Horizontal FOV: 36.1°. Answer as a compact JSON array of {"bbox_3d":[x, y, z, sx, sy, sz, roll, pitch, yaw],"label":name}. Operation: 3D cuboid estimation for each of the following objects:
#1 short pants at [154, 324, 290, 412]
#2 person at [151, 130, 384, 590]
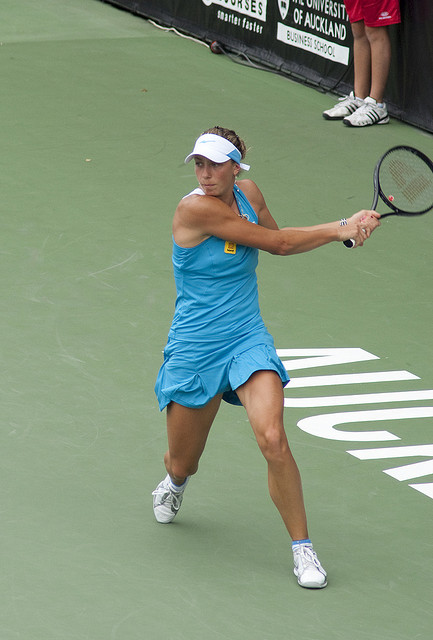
[{"bbox_3d":[0.042,0.166,2.895,0.596,0.323,0.380,-15,0,20],"label":"short pants"},{"bbox_3d":[0.226,0.120,2.880,0.827,1.814,0.665,14,17,39],"label":"person"}]
